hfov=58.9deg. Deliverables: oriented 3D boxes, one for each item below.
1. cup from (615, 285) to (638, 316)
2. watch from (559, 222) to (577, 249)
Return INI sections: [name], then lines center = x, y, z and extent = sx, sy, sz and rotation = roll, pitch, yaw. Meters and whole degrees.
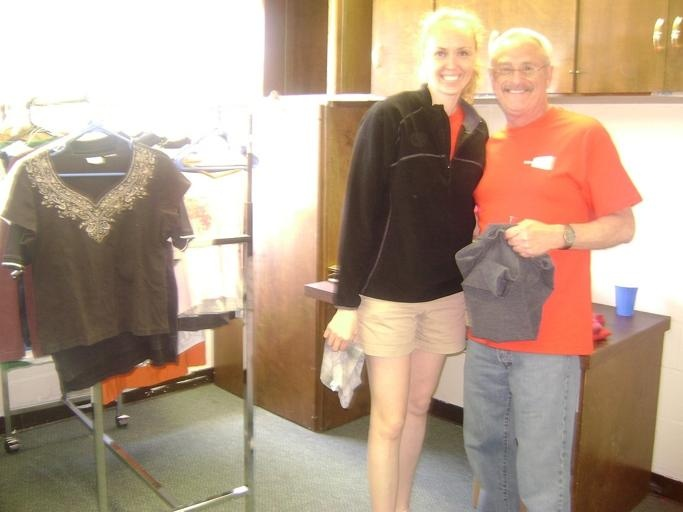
[cup]
center = 1.394, 0.217, 2.962
extent = 0.118, 0.139, 0.108
rotation = 2, 1, 0
[watch]
center = 0.761, -0.065, 2.016
extent = 0.051, 0.069, 0.078
rotation = 0, 7, 4
